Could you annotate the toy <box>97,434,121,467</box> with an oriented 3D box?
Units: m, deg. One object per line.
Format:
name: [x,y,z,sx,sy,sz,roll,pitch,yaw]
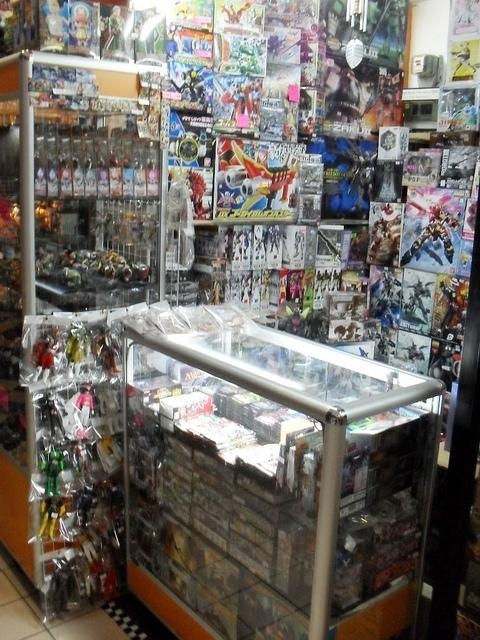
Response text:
toy: [-0.550,0.546,2.009,0.070,0.140,0.030,11,17,24]

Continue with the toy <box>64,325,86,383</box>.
toy: [-0.640,0.113,1.874,0.061,0.221,0.058,6,6,-43]

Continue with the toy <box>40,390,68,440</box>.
toy: [-0.729,0.373,1.859,0.043,0.206,0.043,-9,13,-35]

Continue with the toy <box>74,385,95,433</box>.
toy: [-0.628,0.365,1.934,0.058,0.211,0.029,6,4,-40]

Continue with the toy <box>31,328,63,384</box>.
toy: [-0.729,0.132,1.799,0.052,0.223,0.090,21,11,31]

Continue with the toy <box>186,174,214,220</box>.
toy: [-0.217,-0.703,2.676,0.120,0.263,0.059,-14,17,-41]

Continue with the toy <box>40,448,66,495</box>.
toy: [-0.730,0.580,1.867,0.070,0.178,0.149,0,1,-8]

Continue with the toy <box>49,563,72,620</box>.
toy: [-0.739,1.118,1.975,0.031,0.188,0.094,-1,-8,18]
